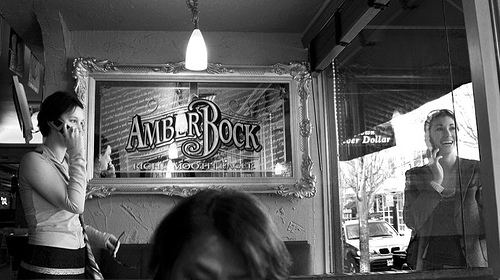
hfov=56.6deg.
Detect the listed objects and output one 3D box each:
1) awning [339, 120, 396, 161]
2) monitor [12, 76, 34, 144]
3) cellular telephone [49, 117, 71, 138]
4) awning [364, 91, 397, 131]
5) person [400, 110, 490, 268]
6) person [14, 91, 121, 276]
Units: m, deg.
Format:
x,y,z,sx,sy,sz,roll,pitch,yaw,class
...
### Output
x,y,z,sx,sy,sz,roll,pitch,yaw,class
0.843,0.023,3.425,0.041,0.213,0.698,3,-9,-19,awning
-2.184,-0.313,4.456,0.102,0.728,0.553,-13,38,-30,monitor
-1.005,-0.072,2.452,0.063,0.088,0.024,-44,9,9,cellular telephone
0.900,-0.213,3.239,0.042,0.238,0.325,3,-10,-18,awning
1.163,0.314,2.889,0.165,0.961,0.538,7,-13,-36,person
-1.004,0.228,2.421,0.380,0.957,0.144,3,-12,-22,person
